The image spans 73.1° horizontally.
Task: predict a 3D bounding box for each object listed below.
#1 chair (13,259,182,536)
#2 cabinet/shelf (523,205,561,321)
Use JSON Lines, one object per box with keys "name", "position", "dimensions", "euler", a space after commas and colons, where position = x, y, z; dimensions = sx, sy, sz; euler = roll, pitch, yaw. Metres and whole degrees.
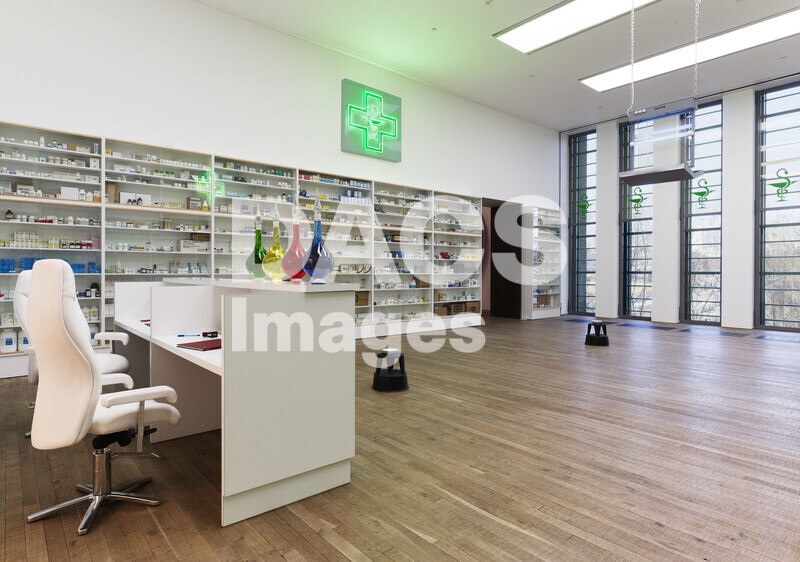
{"name": "chair", "position": [-2.398, 0.886, 4.236], "dimensions": [0.936, 2.115, 0.633], "euler": [-3, 5, -34]}
{"name": "cabinet/shelf", "position": [3.461, -0.460, 13.365], "dimensions": [0.577, 2.710, 1.317], "euler": [4, 5, 37]}
